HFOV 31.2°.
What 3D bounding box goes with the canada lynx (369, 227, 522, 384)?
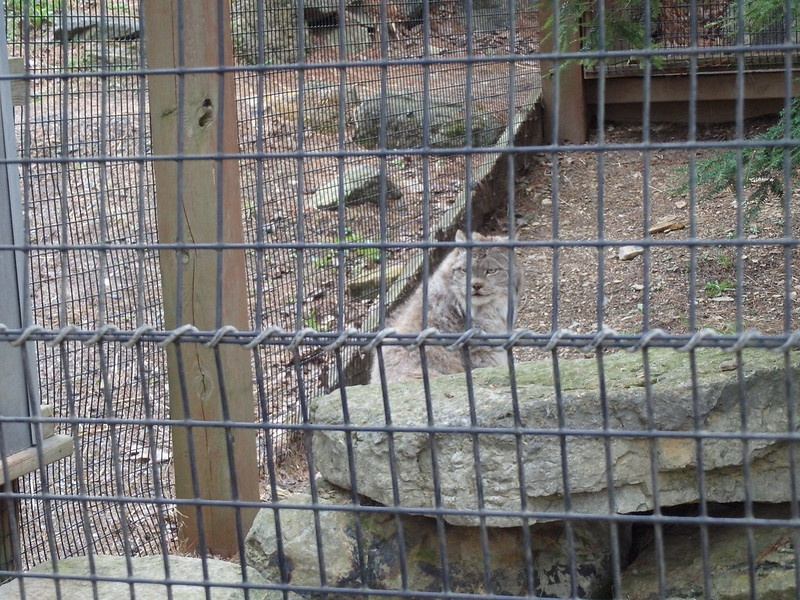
[{"bbox_3d":[0.281,0.056,8.821,0.721,0.533,0.859,-9,22,27],"label":"canada lynx"}]
